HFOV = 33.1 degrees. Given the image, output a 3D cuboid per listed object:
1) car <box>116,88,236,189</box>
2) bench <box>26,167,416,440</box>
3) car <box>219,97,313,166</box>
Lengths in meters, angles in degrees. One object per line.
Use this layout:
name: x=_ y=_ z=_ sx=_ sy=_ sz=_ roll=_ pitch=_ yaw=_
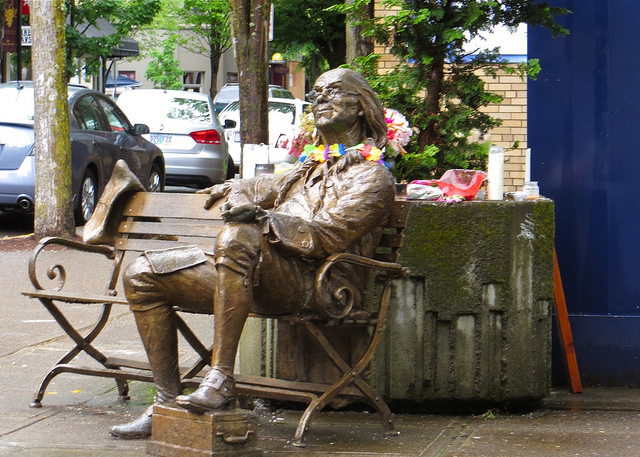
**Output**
car: x=-2.137 y=-1.468 z=17.344 sx=1.620 sy=1.146 sz=2.714 roll=1 pitch=7 yaw=5
bench: x=-0.751 y=0.510 z=7.160 sx=2.732 sy=1.356 sz=1.087 roll=1 pitch=3 yaw=39
car: x=-1.046 y=-1.760 z=17.444 sx=1.516 sy=1.096 sz=2.594 roll=1 pitch=15 yaw=9
